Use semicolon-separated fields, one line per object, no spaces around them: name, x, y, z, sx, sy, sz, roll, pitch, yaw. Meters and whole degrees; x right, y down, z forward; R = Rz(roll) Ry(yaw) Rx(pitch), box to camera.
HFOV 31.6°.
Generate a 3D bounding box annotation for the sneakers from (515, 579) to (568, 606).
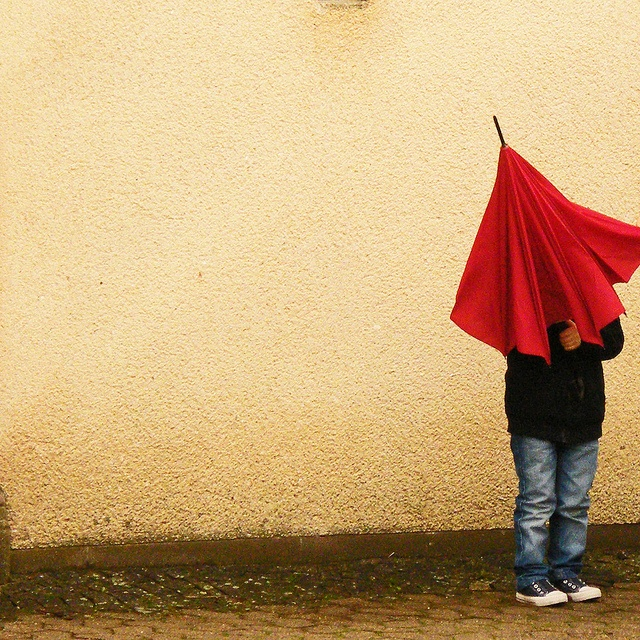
sneakers;0.997;1.239;5.121;0.223;0.131;0.104;1;17;7
